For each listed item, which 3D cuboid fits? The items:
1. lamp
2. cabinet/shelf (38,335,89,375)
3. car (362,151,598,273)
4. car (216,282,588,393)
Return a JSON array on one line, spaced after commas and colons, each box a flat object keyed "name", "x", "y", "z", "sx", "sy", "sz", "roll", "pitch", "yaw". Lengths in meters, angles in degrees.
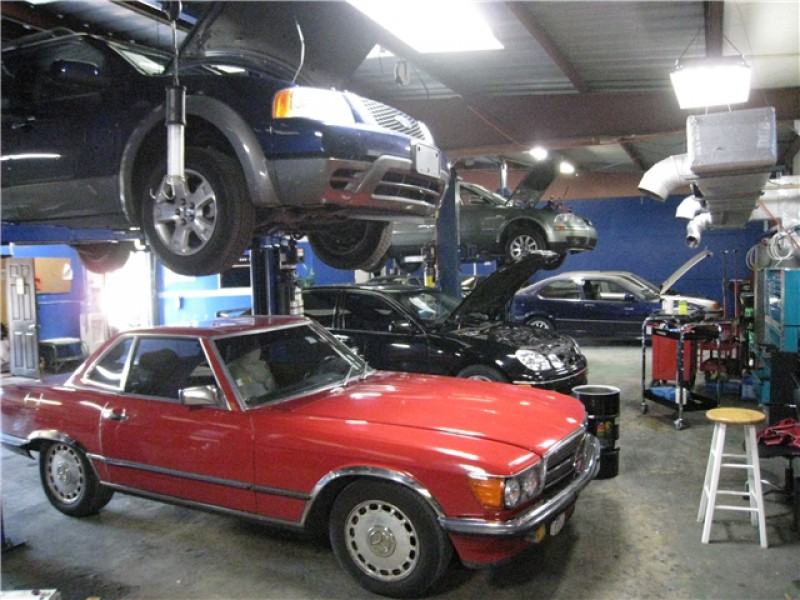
[{"name": "lamp", "x": 3.617, "y": -2.552, "z": 6.804, "sx": 0.772, "sy": 0.485, "sz": 0.640, "roll": 2, "pitch": 8, "yaw": 29}, {"name": "cabinet/shelf", "x": -6.405, "y": 1.048, "z": 11.114, "sx": 0.711, "sy": 0.693, "sz": 1.141, "roll": 2, "pitch": 3, "yaw": 13}, {"name": "car", "x": 1.932, "y": -1.483, "z": 10.791, "sx": 4.870, "sy": 1.794, "sz": 1.769, "roll": -3, "pitch": 1, "yaw": 16}, {"name": "car", "x": -0.026, "y": 0.415, "z": 8.123, "sx": 4.732, "sy": 1.139, "sz": 1.738, "roll": 0, "pitch": 3, "yaw": 21}]
